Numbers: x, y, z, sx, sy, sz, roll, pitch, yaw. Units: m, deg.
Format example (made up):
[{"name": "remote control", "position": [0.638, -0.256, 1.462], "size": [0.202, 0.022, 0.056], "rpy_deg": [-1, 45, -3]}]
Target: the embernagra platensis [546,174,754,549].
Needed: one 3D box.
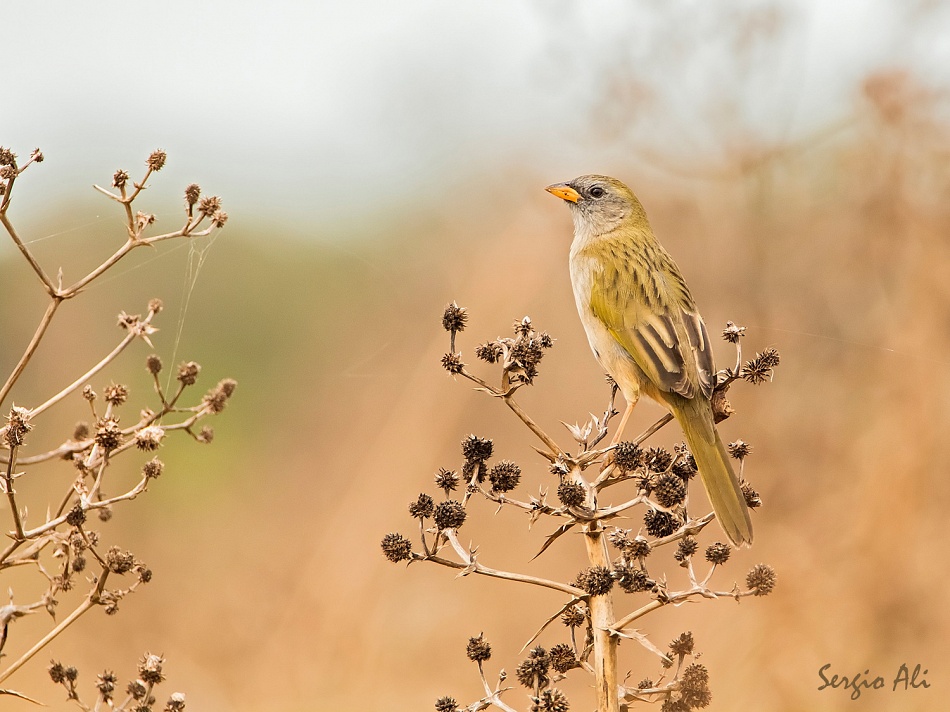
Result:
[{"name": "embernagra platensis", "position": [0.978, -0.103, 7.300], "size": [1.495, 0.557, 1.640], "rpy_deg": [19, -75, 44]}]
